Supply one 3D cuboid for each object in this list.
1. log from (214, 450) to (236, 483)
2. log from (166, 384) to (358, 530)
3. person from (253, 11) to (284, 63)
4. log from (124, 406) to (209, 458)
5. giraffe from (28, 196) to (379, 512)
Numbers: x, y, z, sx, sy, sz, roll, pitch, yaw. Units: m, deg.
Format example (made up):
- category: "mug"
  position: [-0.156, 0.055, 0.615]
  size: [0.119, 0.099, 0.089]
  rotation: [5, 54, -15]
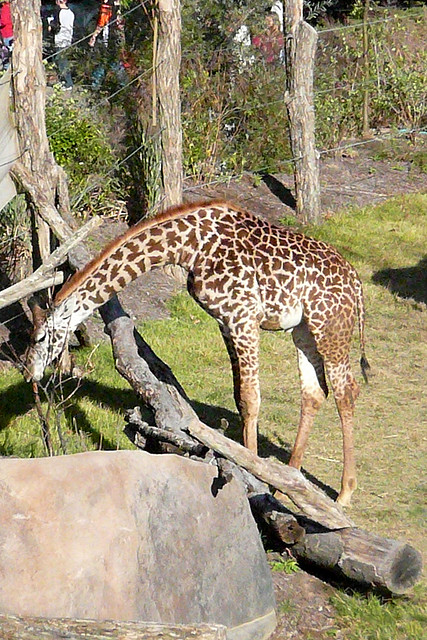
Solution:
- category: "log"
  position: [0.086, 0.809, 4.723]
  size: [0.100, 0.174, 0.053]
  rotation: [-6, 30, 44]
- category: "log"
  position: [0.372, 0.973, 6.048]
  size: [1.525, 0.169, 0.233]
  rotation: [32, 36, 10]
- category: "person"
  position: [1.074, -5.493, 16.811]
  size: [0.517, 0.918, 1.091]
  rotation: [3, 20, 13]
- category: "log"
  position: [-0.273, 0.767, 5.862]
  size: [0.238, 0.239, 0.968]
  rotation: [43, 12, 26]
- category: "giraffe"
  position: [0.304, 0.133, 7.005]
  size: [1.977, 2.371, 3.158]
  rotation: [5, 21, 19]
